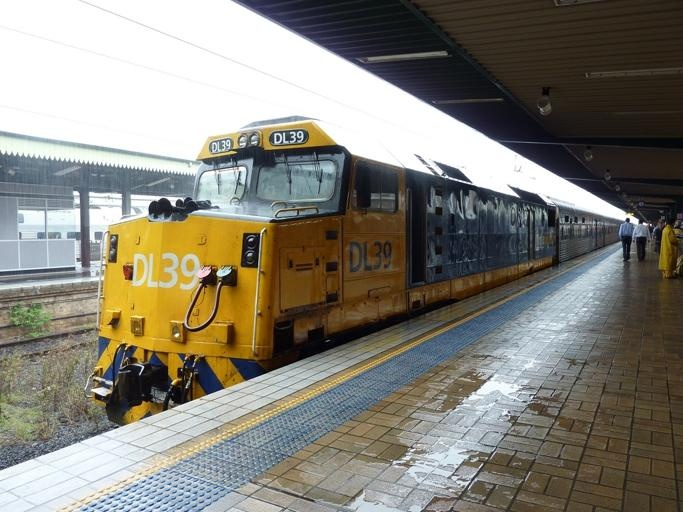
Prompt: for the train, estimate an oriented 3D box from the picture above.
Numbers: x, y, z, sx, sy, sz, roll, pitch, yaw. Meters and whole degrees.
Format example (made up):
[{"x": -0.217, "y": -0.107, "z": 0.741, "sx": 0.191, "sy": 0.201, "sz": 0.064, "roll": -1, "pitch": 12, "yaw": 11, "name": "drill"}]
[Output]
[{"x": 2.133, "y": -0.331, "z": 12.911, "sx": 3.394, "sy": 4.100, "sz": 17.723, "roll": 0, "pitch": 3, "yaw": 33, "name": "train"}]
